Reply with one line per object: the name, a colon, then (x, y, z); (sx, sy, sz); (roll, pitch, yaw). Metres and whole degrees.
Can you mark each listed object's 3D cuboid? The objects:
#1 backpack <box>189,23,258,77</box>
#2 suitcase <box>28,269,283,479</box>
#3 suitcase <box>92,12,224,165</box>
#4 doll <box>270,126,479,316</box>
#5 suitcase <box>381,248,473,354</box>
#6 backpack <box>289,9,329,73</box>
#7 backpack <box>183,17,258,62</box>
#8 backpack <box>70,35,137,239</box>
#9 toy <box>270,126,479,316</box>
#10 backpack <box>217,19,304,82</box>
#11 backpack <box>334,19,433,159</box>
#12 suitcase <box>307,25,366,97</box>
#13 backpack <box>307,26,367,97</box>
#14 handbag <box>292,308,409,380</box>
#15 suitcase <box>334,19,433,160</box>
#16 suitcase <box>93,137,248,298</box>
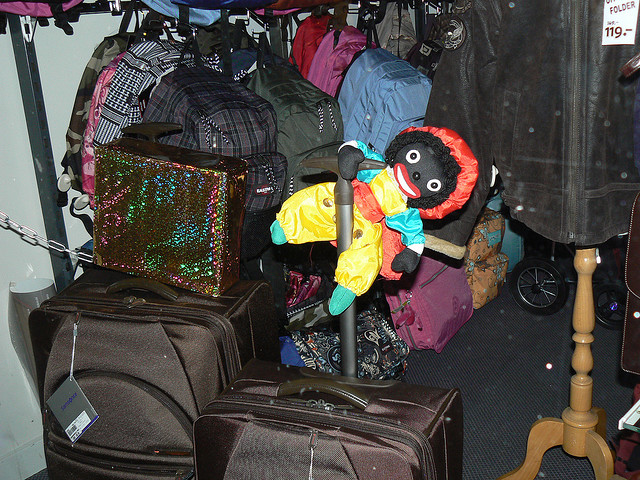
backpack: (-0.387, -0.804, 2.289); (0.307, 0.235, 0.304); (-7, 11, -4)
suitcase: (-0.510, 0.344, 1.882); (0.625, 0.633, 0.674); (3, 16, 16)
suitcase: (-0.600, -0.502, 1.981); (0.410, 0.533, 0.309); (-11, 28, -28)
doll: (0.171, -0.076, 1.487); (0.585, 0.236, 0.407); (-36, 50, -17)
suitcase: (0.548, 0.228, 2.831); (0.408, 0.548, 0.276); (-34, 32, -25)
backpack: (-0.055, -0.959, 2.741); (0.186, 0.081, 0.466); (-15, -7, -16)
backpack: (-0.451, -0.876, 2.480); (0.287, 0.214, 0.345); (-18, 31, -40)
backpack: (-0.793, -0.383, 2.049); (0.251, 0.772, 0.136); (22, 31, 40)
toy: (0.172, -0.076, 1.490); (0.577, 0.234, 0.408); (-30, 51, -10)
backpack: (-0.306, -0.793, 2.462); (0.394, 0.329, 0.317); (21, 29, 38)
backpack: (0.232, -0.593, 2.365); (0.335, 0.561, 0.439); (5, 30, -17)
suitcase: (0.047, -0.818, 2.599); (0.275, 0.365, 0.179); (-21, 33, -36)
backpack: (0.123, -0.867, 2.565); (0.147, 0.228, 0.175); (27, 23, -16)
handbag: (0.090, 0.550, 2.682); (0.523, 0.186, 0.673); (-5, -24, 33)
suitcase: (0.221, -0.576, 2.405); (0.337, 0.565, 0.442); (6, 30, -14)
suitcase: (-0.452, -0.057, 1.653); (0.382, 0.359, 0.134); (14, 18, 15)
